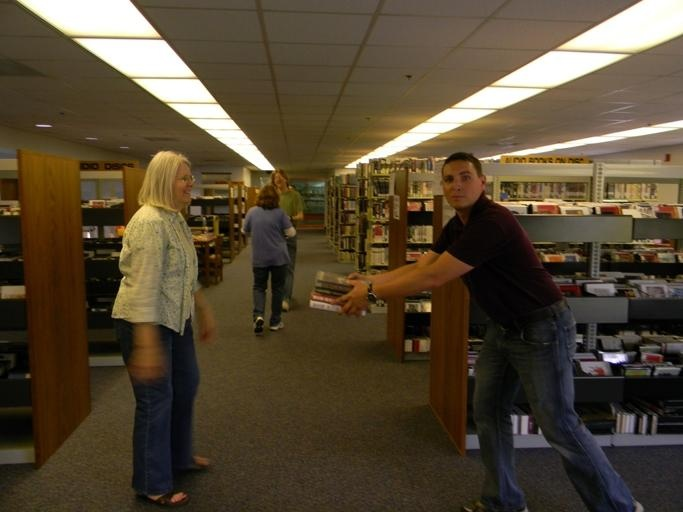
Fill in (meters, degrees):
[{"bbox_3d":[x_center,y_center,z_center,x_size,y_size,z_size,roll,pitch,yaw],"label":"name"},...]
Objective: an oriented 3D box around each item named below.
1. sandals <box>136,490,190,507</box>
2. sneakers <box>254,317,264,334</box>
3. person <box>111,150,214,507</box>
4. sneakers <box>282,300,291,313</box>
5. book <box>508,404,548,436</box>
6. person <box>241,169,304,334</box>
[{"bbox_3d":[-1.180,1.587,3.508,0.313,0.069,0.116,-1,0,5],"label":"sandals"},{"bbox_3d":[-1.018,0.854,6.588,0.105,0.229,0.101,2,32,-13],"label":"sneakers"},{"bbox_3d":[-1.192,0.467,3.503,0.449,2.244,0.608,2,14,8],"label":"person"},{"bbox_3d":[-0.805,0.747,7.876,0.130,0.133,0.154,0,12,-1],"label":"sneakers"},{"bbox_3d":[1.417,1.265,4.030,0.328,0.118,0.393,0,3,1],"label":"book"},{"bbox_3d":[-0.895,0.059,6.675,0.597,1.845,0.625,-3,14,-11],"label":"person"}]
